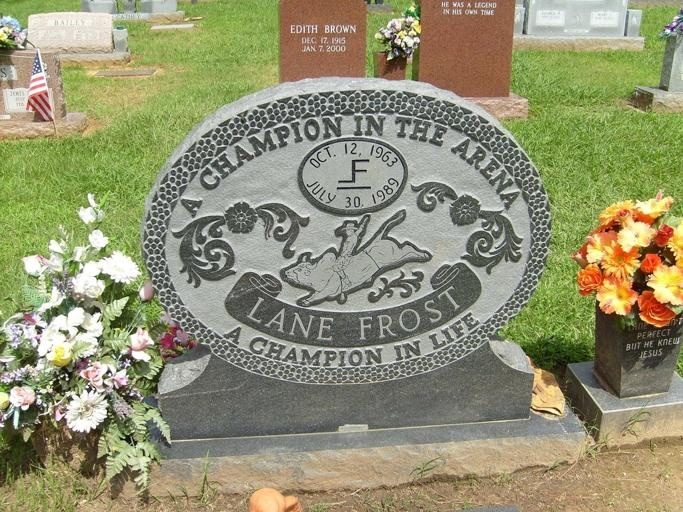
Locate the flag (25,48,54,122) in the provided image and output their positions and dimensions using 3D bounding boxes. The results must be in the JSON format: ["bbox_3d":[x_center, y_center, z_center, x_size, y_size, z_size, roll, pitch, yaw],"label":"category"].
[{"bbox_3d":[-3.960,-2.202,12.673,0.343,0.971,0.681,-10,31,-16],"label":"flag"}]

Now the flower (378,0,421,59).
[{"bbox_3d":[0.785,-3.067,13.455,0.589,0.742,0.855,0,29,2],"label":"flower"}]
